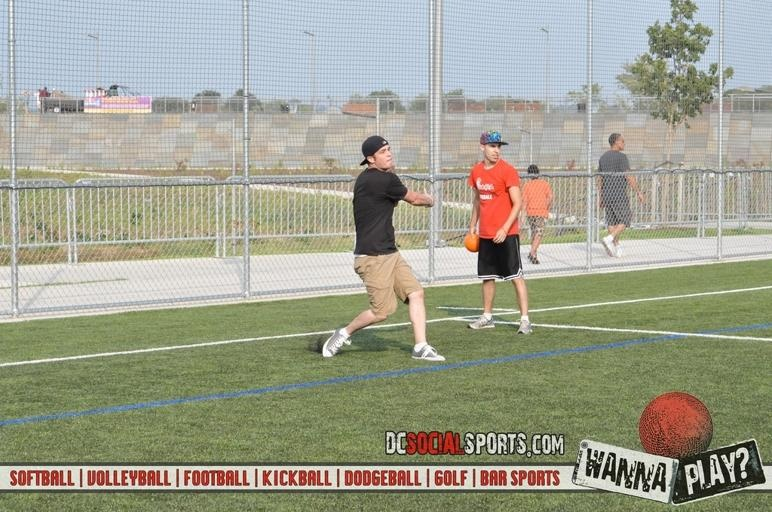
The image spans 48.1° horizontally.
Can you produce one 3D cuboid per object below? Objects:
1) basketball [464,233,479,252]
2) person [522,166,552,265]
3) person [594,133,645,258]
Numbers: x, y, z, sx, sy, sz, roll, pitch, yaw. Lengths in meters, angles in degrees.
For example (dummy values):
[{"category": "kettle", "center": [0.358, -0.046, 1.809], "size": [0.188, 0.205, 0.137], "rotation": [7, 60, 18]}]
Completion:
[{"category": "basketball", "center": [1.121, -0.168, 11.546], "size": [0.218, 0.209, 0.222], "rotation": [25, 14, 32]}, {"category": "person", "center": [3.053, -0.791, 16.985], "size": [0.699, 1.878, 0.720], "rotation": [1, 0, 4]}, {"category": "person", "center": [4.665, -1.261, 17.580], "size": [1.011, 2.552, 0.894], "rotation": [-5, 8, -14]}]
